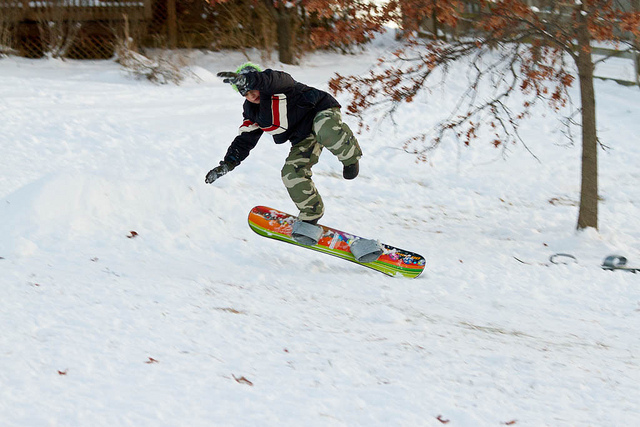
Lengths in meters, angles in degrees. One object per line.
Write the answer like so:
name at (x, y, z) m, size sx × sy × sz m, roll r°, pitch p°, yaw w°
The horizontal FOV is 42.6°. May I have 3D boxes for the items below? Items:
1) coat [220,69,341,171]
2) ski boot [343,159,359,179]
coat at (-0.577, -1.490, 10.875) m, size 1.464 × 1.419 × 2.990 m, roll 5°, pitch -13°, yaw -8°
ski boot at (0.420, -0.597, 11.102) m, size 0.132 × 0.287 × 0.138 m, roll 29°, pitch 7°, yaw 9°
